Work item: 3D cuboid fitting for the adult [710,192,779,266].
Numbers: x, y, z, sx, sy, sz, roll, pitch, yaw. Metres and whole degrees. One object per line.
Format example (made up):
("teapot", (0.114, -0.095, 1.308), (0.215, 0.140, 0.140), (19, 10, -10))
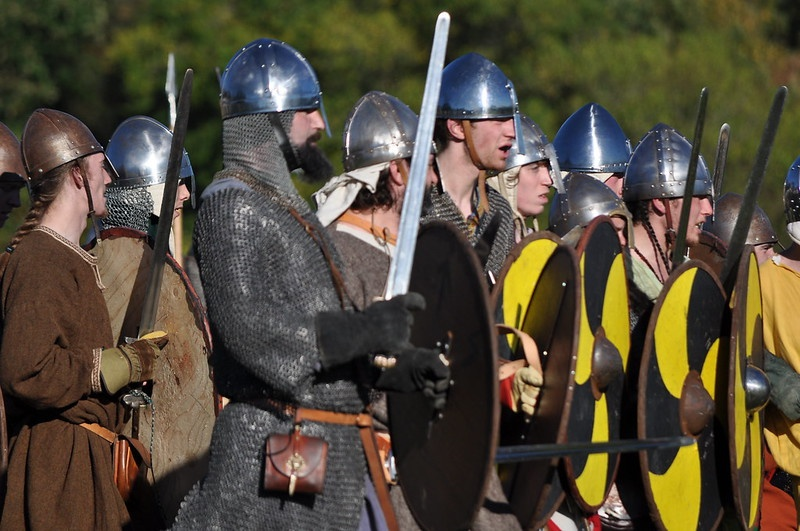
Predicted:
("adult", (3.666, -0.430, 20.301), (0.892, 0.760, 0.676), (-4, -16, 20))

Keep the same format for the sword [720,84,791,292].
("sword", (3.476, -0.764, 18.135), (0.355, 3.205, 0.089), (9, -6, -20))

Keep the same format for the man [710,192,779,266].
("man", (3.676, -0.453, 20.301), (0.860, 0.758, 0.660), (-7, -9, 22))

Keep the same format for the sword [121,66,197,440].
("sword", (-2.244, -0.406, 17.509), (0.377, 4.205, 0.469), (11, 16, 16))

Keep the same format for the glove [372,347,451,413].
("glove", (0.168, 0.954, 16.440), (0.460, 0.620, 0.327), (0, 45, 13))

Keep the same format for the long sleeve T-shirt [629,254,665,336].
("long sleeve T-shirt", (2.421, 0.309, 18.177), (0.209, 0.482, 0.647), (-7, 45, 27))

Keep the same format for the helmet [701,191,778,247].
("helmet", (3.689, -0.515, 20.036), (0.731, 0.516, 0.549), (7, 6, 21))

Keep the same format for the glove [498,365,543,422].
("glove", (1.129, 1.154, 17.414), (0.199, 0.472, 0.429), (-2, 9, -43))

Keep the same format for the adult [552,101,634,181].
("adult", (2.139, -1.400, 20.777), (0.904, 0.891, 0.828), (1, 4, 0))

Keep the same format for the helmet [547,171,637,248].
("helmet", (2.048, -0.620, 19.197), (0.825, 0.696, 0.623), (-1, 3, 37))
